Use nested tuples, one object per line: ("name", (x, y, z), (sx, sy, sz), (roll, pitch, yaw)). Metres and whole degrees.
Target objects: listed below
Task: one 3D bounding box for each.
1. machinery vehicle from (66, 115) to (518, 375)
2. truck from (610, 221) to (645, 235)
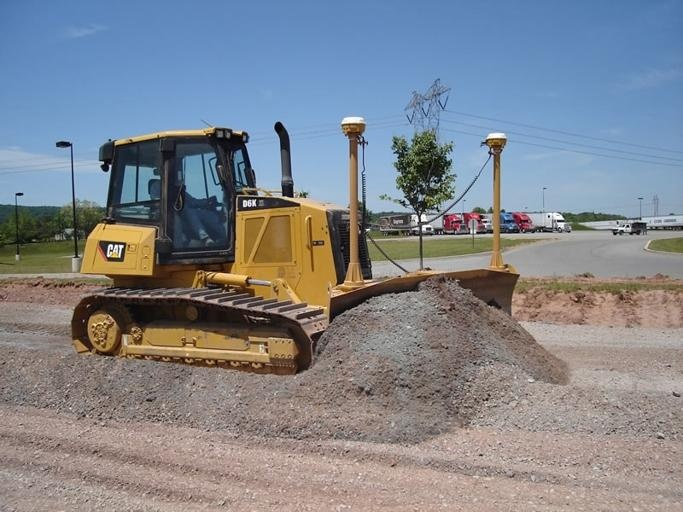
("machinery vehicle", (-0.837, -0.402, 9.068), (7.248, 3.371, 4.369), (-1, 13, 42))
("truck", (27.192, -2.630, 51.454), (2.893, 1.067, 1.475), (-2, 4, -4))
